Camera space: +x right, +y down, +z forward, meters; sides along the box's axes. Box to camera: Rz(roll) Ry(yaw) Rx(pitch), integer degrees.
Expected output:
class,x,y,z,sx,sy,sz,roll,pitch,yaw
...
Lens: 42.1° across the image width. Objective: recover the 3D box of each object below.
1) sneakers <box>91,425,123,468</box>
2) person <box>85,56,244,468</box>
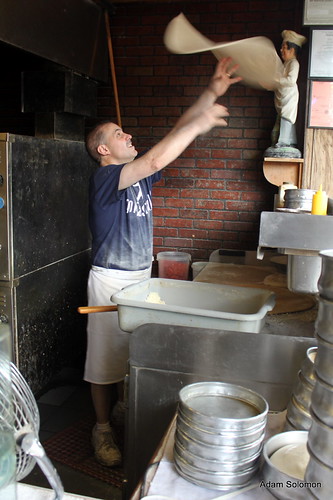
class,x,y,z,sx,sy,sz,roll,pitch,yaw
sneakers,-0.320,1.015,2.275,0.124,0.120,0.327,9,2,-20
person,-0.117,0.121,2.175,0.547,1.926,1.010,-1,12,-20
